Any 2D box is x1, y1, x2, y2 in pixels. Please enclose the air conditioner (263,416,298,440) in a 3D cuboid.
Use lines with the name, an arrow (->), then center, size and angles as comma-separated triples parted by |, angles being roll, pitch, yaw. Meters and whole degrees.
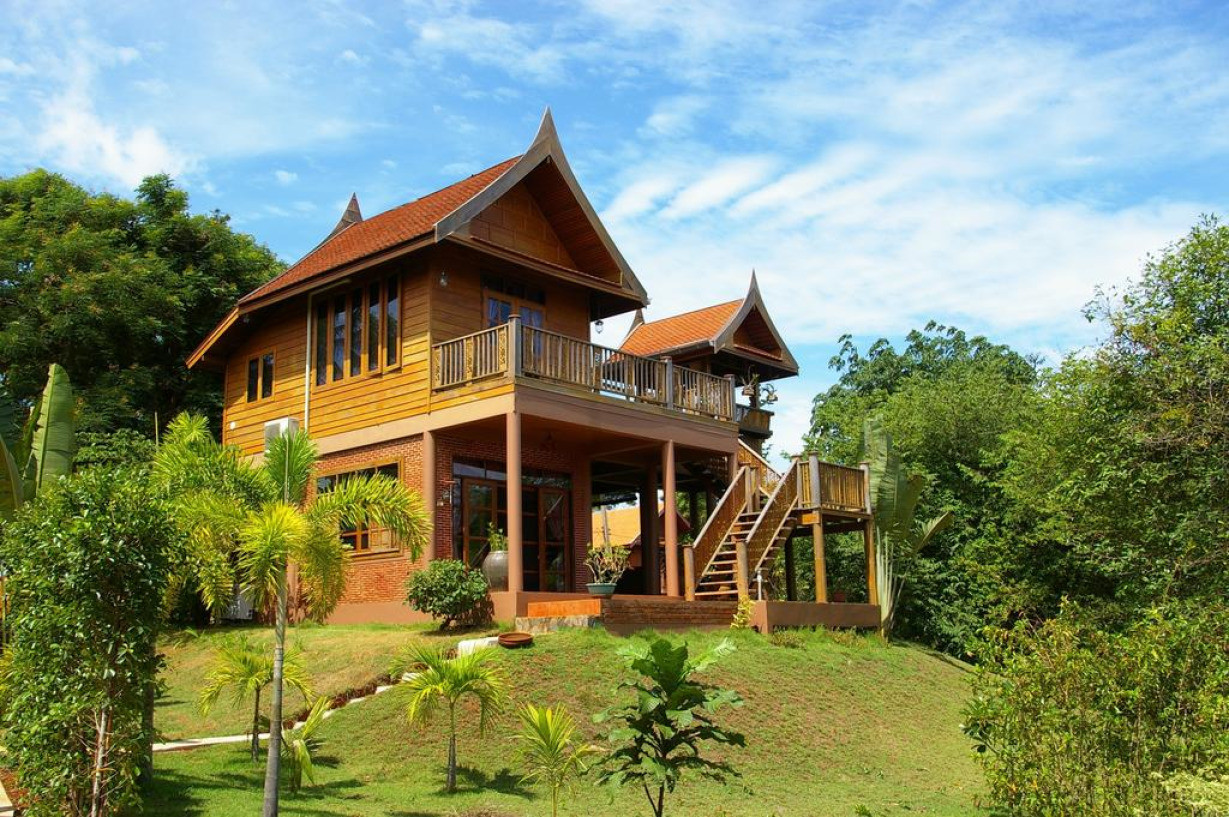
air conditioner -> -7.632, 0.422, 24.721 | 0.906, 0.478, 0.872 | -9, -3, -9

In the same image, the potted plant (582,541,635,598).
potted plant -> -0.308, 4.240, 27.797 | 1.233, 1.329, 1.022 | 12, -14, -43
